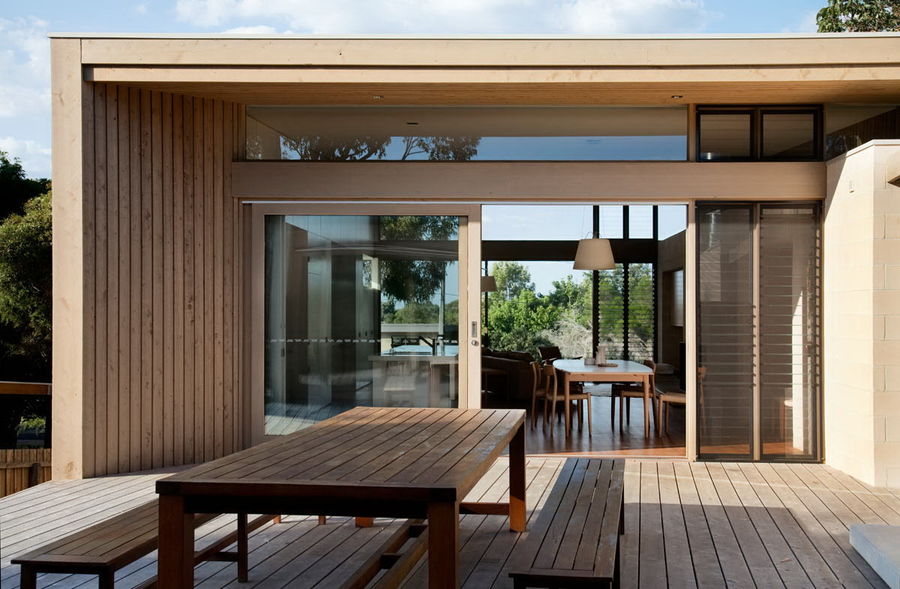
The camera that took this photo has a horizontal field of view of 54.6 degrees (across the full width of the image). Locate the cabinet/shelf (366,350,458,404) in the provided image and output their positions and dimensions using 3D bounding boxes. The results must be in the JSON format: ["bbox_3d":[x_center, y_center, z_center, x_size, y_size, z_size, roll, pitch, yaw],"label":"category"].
[{"bbox_3d":[-0.402,1.063,11.144,0.743,0.462,0.754,0,-3,5],"label":"cabinet/shelf"}]
